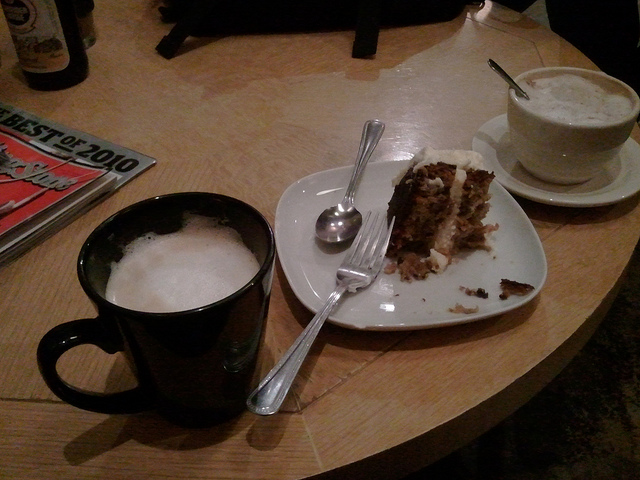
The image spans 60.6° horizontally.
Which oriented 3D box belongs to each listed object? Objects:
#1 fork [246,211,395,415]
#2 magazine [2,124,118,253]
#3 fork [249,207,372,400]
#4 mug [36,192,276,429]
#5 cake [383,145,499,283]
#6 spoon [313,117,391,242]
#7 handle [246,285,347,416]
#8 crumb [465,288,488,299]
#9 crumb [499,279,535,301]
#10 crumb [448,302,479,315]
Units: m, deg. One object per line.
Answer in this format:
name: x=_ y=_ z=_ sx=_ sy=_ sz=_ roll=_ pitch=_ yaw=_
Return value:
fork: x=0.055 y=0.067 z=0.860 sx=0.088 sy=0.053 sz=0.507 roll=7 pitch=38 yaw=36
magazine: x=-0.464 y=-0.091 z=0.931 sx=0.236 sy=0.022 sz=0.225 roll=37 pitch=47 yaw=27
fork: x=0.022 y=0.091 z=0.813 sx=0.040 sy=0.046 sz=0.355 roll=51 pitch=57 yaw=-11
mug: x=-0.194 y=0.097 z=0.665 sx=0.340 sy=0.194 sz=0.201 roll=-23 pitch=52 yaw=-27
cake: x=0.196 y=-0.038 z=0.902 sx=0.232 sy=0.090 sz=0.199 roll=6 pitch=89 yaw=0
spoon: x=0.074 y=-0.120 z=1.006 sx=0.089 sy=0.045 sz=0.328 roll=11 pitch=44 yaw=15
handle: x=-0.013 y=0.133 z=0.746 sx=0.047 sy=0.019 sz=0.254 roll=20 pitch=42 yaw=22
crumb: x=0.235 y=0.079 z=0.814 sx=0.028 sy=0.010 sz=0.014 roll=4 pitch=36 yaw=15
crumb: x=0.290 y=0.074 z=0.805 sx=0.044 sy=0.024 sz=0.037 roll=12 pitch=56 yaw=3
crumb: x=0.208 y=0.098 z=0.789 sx=0.025 sy=0.005 sz=0.019 roll=6 pitch=18 yaw=44
